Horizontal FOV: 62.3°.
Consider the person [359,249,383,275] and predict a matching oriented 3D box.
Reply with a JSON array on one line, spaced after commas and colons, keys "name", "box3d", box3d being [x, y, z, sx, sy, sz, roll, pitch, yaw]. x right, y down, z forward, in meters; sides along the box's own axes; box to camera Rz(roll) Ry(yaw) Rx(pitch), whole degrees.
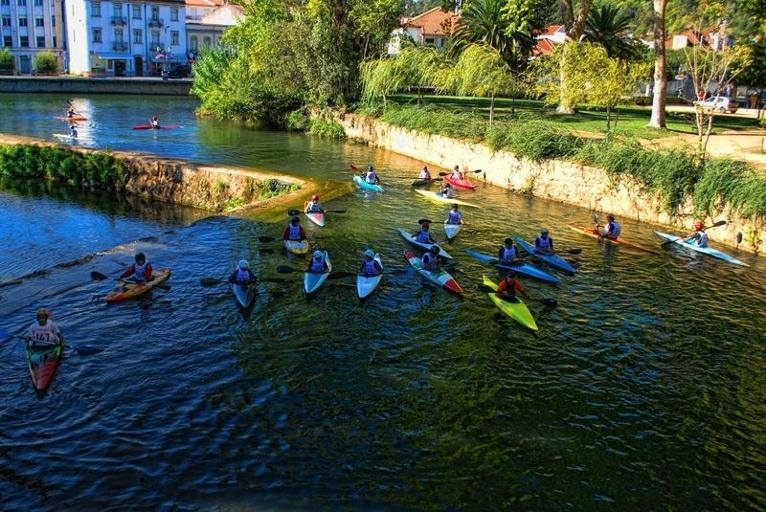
[{"name": "person", "box3d": [-0.436, 0.213, 24.323, 0.526, 0.535, 1.263, 3, 27, 5]}]

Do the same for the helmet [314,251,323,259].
[{"name": "helmet", "box3d": [-2.422, -0.040, 23.918, 0.234, 0.262, 0.289, 1, -6, -15]}]

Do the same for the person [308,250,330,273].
[{"name": "person", "box3d": [-2.385, 0.217, 24.117, 0.632, 0.835, 0.950, 16, 19, 43]}]

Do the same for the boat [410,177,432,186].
[{"name": "boat", "box3d": [2.282, -4.337, 36.635, 1.552, 0.481, 0.694, -8, 18, -38]}]

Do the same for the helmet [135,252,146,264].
[{"name": "helmet", "box3d": [-8.955, 0.076, 23.142, 0.382, 0.449, 0.479, -1, 8, 2]}]

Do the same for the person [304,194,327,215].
[{"name": "person", "box3d": [-3.282, -2.557, 30.239, 0.698, 0.627, 1.422, 3, 21, -6]}]

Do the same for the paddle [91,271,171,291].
[{"name": "paddle", "box3d": [-9.051, 1.113, 23.015, 2.786, 0.469, 0.955, -10, 28, -31]}]

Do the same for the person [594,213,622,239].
[{"name": "person", "box3d": [10.378, -1.355, 28.862, 1.002, 1.211, 1.409, 7, 15, 18]}]

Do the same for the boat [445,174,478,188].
[{"name": "boat", "box3d": [4.529, -4.301, 36.998, 0.761, 0.416, 2.469, -23, 36, -23]}]

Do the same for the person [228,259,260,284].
[{"name": "person", "box3d": [-5.120, 0.632, 23.150, 0.766, 0.487, 1.069, 3, 38, -8]}]

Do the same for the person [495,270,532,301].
[{"name": "person", "box3d": [5.002, 1.092, 23.382, 1.621, 1.153, 0.953, -3, 15, -23]}]

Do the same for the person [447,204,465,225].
[{"name": "person", "box3d": [3.375, -1.970, 29.015, 0.918, 1.120, 0.965, 3, 28, 13]}]

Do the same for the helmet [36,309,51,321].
[{"name": "helmet", "box3d": [-10.569, 1.837, 19.654, 0.301, 0.340, 0.389, -6, -7, -24]}]

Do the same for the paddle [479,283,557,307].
[{"name": "paddle", "box3d": [4.968, 1.499, 23.508, 2.640, 0.488, 0.286, 9, 41, 21]}]

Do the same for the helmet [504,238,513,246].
[{"name": "helmet", "box3d": [5.160, -0.554, 25.598, 0.290, 0.338, 0.350, -1, 1, -1]}]

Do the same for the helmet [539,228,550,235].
[{"name": "helmet", "box3d": [6.843, -0.982, 26.699, 0.397, 0.348, 0.318, 0, 18, 27]}]

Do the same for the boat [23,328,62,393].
[{"name": "boat", "box3d": [-10.286, 3.256, 19.310, 0.984, 1.192, 1.315, -5, 16, -28]}]

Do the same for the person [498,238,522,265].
[{"name": "person", "box3d": [5.367, -0.225, 25.918, 1.191, 1.072, 0.739, -4, 16, -27]}]

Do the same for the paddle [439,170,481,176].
[{"name": "paddle", "box3d": [4.822, -5.044, 38.279, 2.792, 0.288, 0.478, -11, 20, -35]}]

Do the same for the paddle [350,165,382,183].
[{"name": "paddle", "box3d": [-1.003, -4.808, 37.273, 0.636, 0.719, 2.101, -16, 37, -25]}]

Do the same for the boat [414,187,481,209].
[{"name": "boat", "box3d": [3.410, -3.046, 33.811, 3.415, 0.486, 0.681, 22, 22, 28]}]

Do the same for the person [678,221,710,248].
[{"name": "person", "box3d": [13.997, -0.856, 27.917, 0.673, 0.960, 2.078, 5, 24, 11]}]

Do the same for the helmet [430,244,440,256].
[{"name": "helmet", "box3d": [2.021, -0.216, 24.861, 0.311, 0.408, 0.389, 12, 9, 39]}]

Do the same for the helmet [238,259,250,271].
[{"name": "helmet", "box3d": [-5.106, 0.342, 23.179, 0.327, 0.323, 0.458, -1, 12, -14]}]

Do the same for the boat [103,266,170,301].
[{"name": "boat", "box3d": [-8.742, 1.093, 23.003, 0.754, 0.362, 2.171, 27, 40, 27]}]

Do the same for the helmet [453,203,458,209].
[{"name": "helmet", "box3d": [3.314, -2.258, 28.659, 0.198, 0.241, 0.259, -1, -21, 13]}]

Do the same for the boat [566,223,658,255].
[{"name": "boat", "box3d": [10.498, -0.722, 28.904, 2.839, 0.226, 0.497, 26, 35, 29]}]

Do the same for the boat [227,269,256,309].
[{"name": "boat", "box3d": [-4.986, 1.414, 22.690, 0.598, 0.448, 1.828, -12, 51, -4]}]

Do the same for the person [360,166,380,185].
[{"name": "person", "box3d": [-0.677, -4.642, 36.005, 0.822, 0.671, 1.478, -1, 21, -6]}]

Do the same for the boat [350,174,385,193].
[{"name": "boat", "box3d": [-0.863, -3.957, 35.642, 0.751, 0.586, 2.448, 1, 19, -37]}]

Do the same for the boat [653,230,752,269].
[{"name": "boat", "box3d": [13.958, -0.213, 28.270, 0.998, 0.504, 4.687, -43, 50, -19]}]

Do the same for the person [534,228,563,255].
[{"name": "person", "box3d": [7.202, -0.680, 27.005, 0.910, 1.222, 1.172, -4, 28, 1]}]
